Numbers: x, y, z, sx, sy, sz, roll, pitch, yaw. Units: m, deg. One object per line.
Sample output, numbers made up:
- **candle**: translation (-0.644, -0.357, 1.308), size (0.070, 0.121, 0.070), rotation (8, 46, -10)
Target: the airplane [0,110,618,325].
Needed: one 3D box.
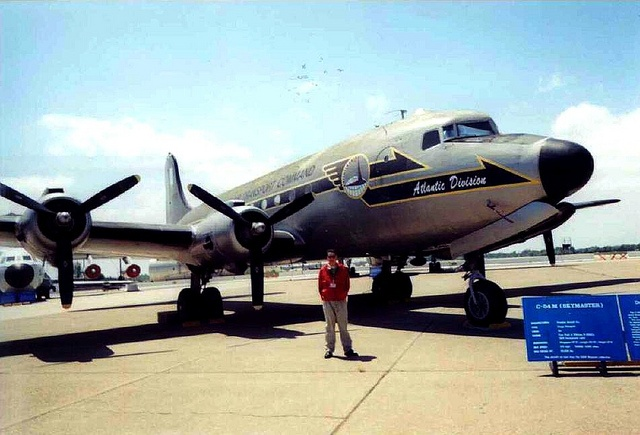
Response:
- **airplane**: translation (-0.279, 0.081, 14.785), size (12.651, 5.129, 7.886), rotation (-2, 0, 5)

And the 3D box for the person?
- **person**: translation (0.339, 1.664, 10.498), size (0.667, 2.088, 1.420), rotation (-3, 0, -1)

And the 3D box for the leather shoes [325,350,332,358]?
- **leather shoes**: translation (0.169, 2.611, 9.980), size (0.158, 0.134, 0.183), rotation (-2, 0, -1)
